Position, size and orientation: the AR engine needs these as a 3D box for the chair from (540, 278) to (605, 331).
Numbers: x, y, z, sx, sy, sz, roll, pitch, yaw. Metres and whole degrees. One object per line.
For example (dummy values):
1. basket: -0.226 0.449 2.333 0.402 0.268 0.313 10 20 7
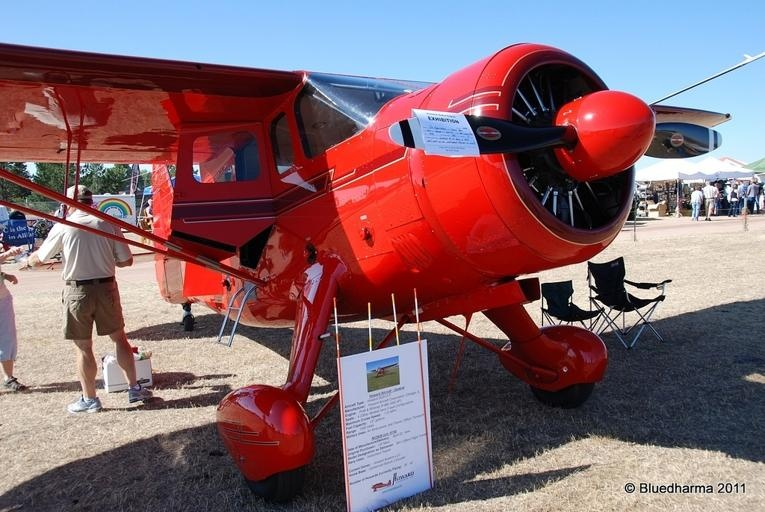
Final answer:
1. chair: 2.538 0.801 6.889 0.666 0.805 0.653 -6 10 13

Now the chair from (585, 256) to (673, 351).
1. chair: 3.451 0.629 7.135 1.034 1.024 1.006 -3 8 6

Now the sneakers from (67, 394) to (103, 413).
1. sneakers: -3.414 1.683 5.946 0.383 0.163 0.165 2 -2 -4

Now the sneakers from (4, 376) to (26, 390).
1. sneakers: -4.675 1.594 6.550 0.324 0.137 0.124 0 -1 26
